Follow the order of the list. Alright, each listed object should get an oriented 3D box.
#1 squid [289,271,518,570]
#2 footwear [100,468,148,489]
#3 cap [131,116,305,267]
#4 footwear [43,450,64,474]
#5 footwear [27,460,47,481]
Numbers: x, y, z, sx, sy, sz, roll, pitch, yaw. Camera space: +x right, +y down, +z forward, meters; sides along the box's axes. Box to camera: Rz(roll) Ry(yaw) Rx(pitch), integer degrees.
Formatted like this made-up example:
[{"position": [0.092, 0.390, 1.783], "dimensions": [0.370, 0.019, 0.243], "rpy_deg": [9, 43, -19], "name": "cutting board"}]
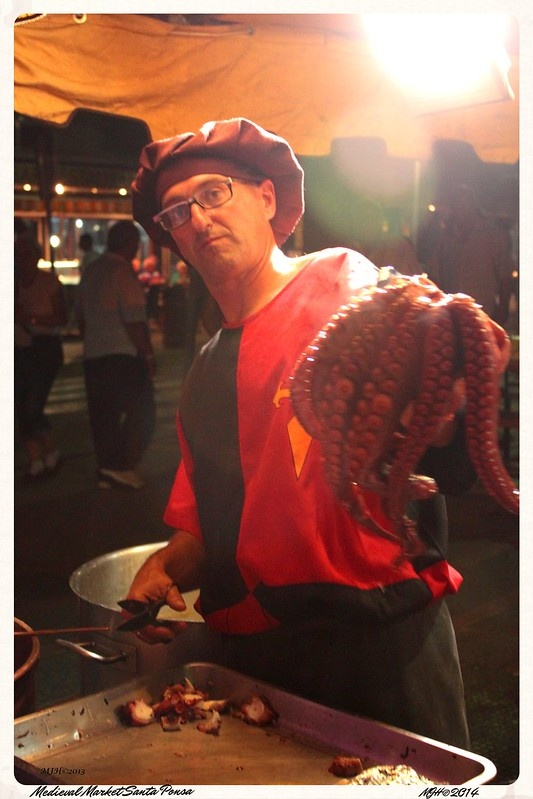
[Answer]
[{"position": [0.259, 0.036, 1.544], "dimensions": [0.459, 0.492, 0.157], "rpy_deg": [12, 6, 22], "name": "squid"}, {"position": [-0.319, 0.175, 1.790], "dimensions": [0.111, 0.042, 0.038], "rpy_deg": [10, -6, 11], "name": "footwear"}, {"position": [-0.073, -0.468, 1.647], "dimensions": [0.292, 0.293, 0.077], "rpy_deg": [44, 2, 14], "name": "cap"}, {"position": [-0.474, 0.137, 1.795], "dimensions": [0.029, 0.053, 0.059], "rpy_deg": [1, -5, -8], "name": "footwear"}, {"position": [-0.512, 0.154, 1.806], "dimensions": [0.027, 0.046, 0.068], "rpy_deg": [2, -19, -17], "name": "footwear"}]
